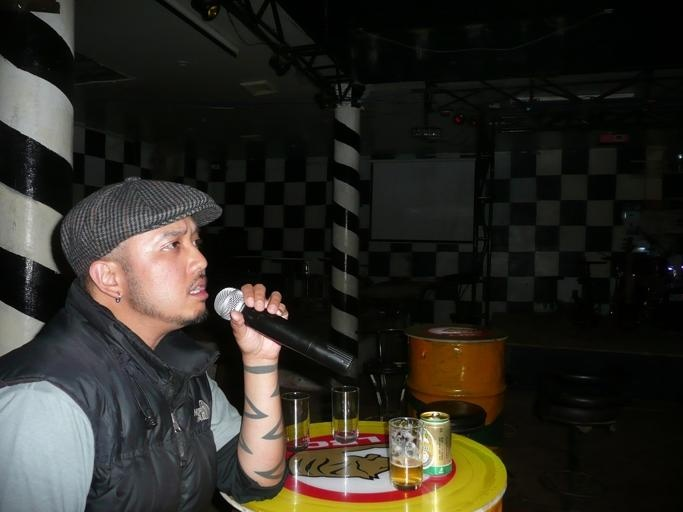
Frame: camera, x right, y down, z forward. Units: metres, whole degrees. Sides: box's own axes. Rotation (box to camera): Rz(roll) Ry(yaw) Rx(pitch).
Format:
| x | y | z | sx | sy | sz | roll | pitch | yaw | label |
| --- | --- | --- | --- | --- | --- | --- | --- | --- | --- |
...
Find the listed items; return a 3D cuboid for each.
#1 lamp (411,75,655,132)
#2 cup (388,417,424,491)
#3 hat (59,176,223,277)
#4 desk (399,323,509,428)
| x | y | z | sx | sy | sz | roll | pitch | yaw | label |
| --- | --- | --- | --- | --- | --- | --- | --- | --- | --- |
| 1.628 | -1.299 | 5.126 | 1.853 | 0.432 | 1.132 | 4 | 11 | 7 | lamp |
| 0.213 | 0.650 | 1.979 | 0.114 | 0.198 | 0.134 | -3 | 14 | -25 | cup |
| -0.601 | -0.069 | 1.821 | 0.389 | 0.164 | 0.279 | -19 | 30 | -8 | hat |
| 0.587 | 0.599 | 3.165 | 0.523 | 0.408 | 0.242 | 7 | 13 | 22 | desk |
